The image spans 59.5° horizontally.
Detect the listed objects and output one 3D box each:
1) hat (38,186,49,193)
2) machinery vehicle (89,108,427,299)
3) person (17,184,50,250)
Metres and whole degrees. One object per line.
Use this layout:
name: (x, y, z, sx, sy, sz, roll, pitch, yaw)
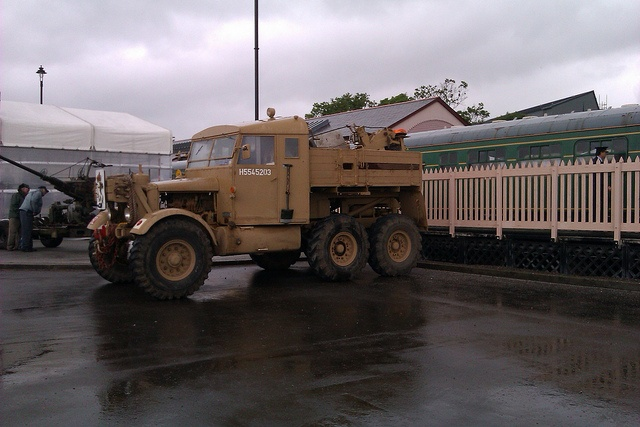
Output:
hat: (-10.273, -0.855, 20.734, 0.290, 0.378, 0.356, 13, 9, 39)
machinery vehicle: (-1.067, -0.251, 14.914, 8.116, 4.140, 3.529, -2, 1, -28)
person: (-10.425, 0.165, 20.128, 0.800, 2.330, 0.975, -2, 0, -29)
